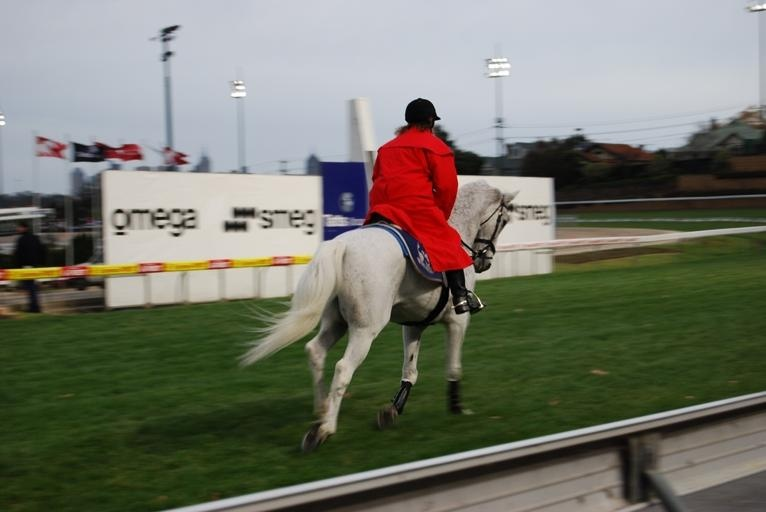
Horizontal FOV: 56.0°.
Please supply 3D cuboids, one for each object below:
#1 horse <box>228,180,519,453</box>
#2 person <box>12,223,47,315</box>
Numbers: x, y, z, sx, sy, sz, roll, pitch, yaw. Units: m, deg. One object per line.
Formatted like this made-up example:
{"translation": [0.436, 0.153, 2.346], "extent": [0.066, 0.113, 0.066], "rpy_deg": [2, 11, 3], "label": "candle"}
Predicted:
{"translation": [-0.458, 0.357, 7.817], "extent": [3.037, 2.327, 3.296], "rpy_deg": [-8, 13, -33], "label": "horse"}
{"translation": [-6.070, 0.193, 12.497], "extent": [0.493, 1.520, 1.154], "rpy_deg": [-7, 13, -24], "label": "person"}
